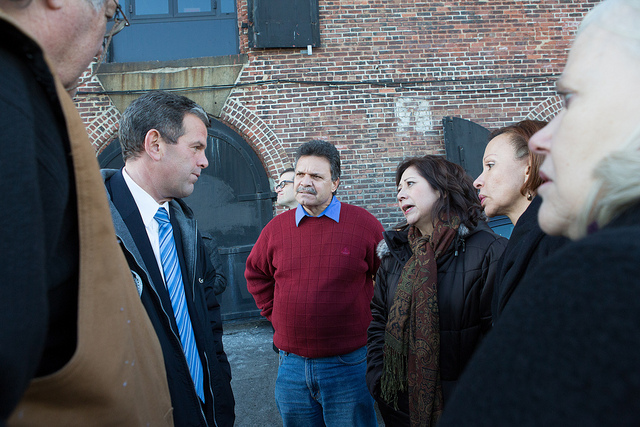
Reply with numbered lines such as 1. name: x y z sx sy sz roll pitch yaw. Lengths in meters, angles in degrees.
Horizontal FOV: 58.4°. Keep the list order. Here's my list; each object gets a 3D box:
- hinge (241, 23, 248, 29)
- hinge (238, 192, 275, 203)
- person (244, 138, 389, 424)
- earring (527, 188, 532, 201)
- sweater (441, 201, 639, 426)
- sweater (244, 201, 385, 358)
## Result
1. hinge: -0.969 -2.375 7.258 0.060 0.063 0.015 1 7 -5
2. hinge: -0.822 -0.216 7.368 0.471 0.107 0.056 -1 18 3
3. person: -0.037 0.444 3.694 0.842 1.511 1.153 -5 19 -10
4. earring: 0.953 -0.080 2.624 0.010 0.037 0.026 1 -13 9
5. sweater: 0.479 0.281 1.355 0.370 0.568 0.155 -2 13 -33
6. sweater: -0.004 0.410 3.796 1.048 1.006 0.507 0 6 8
